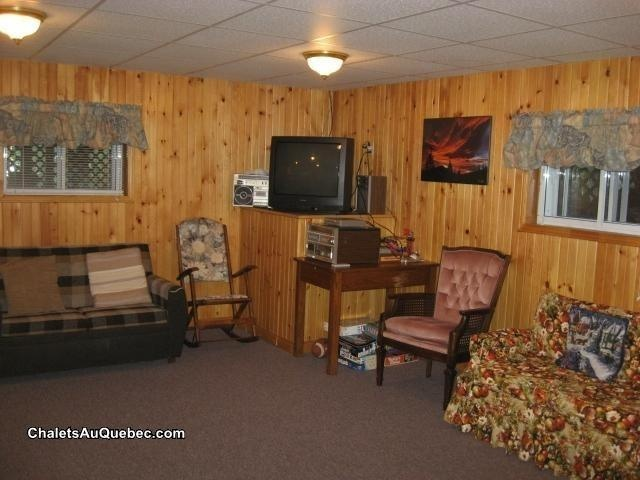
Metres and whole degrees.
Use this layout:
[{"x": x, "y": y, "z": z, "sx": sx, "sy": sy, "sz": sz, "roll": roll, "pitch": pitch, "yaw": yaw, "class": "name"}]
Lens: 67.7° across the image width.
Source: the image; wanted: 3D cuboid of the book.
[{"x": 0.543, "y": 1.014, "z": 5.033, "sx": 0.611, "sy": 0.206, "sz": 0.598, "roll": -2, "pitch": 5, "yaw": -41, "class": "book"}]

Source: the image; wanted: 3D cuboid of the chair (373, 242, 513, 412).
[{"x": 0.936, "y": 0.708, "z": 5.015, "sx": 1.416, "sy": 1.831, "sz": 1.247, "roll": 2, "pitch": 4, "yaw": -40, "class": "chair"}]

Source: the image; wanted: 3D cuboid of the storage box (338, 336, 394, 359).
[{"x": 0.442, "y": 1.080, "z": 4.890, "sx": 0.316, "sy": 0.085, "sz": 0.305, "roll": 0, "pitch": 4, "yaw": -24, "class": "storage box"}]

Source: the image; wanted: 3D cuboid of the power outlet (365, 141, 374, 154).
[{"x": 0.593, "y": -1.116, "z": 5.752, "sx": 0.111, "sy": 0.140, "sz": 0.131, "roll": 0, "pitch": 2, "yaw": -7, "class": "power outlet"}]

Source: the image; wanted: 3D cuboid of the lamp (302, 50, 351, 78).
[{"x": 0.072, "y": -1.543, "z": 4.236, "sx": 0.454, "sy": 0.185, "sz": 0.358, "roll": 0, "pitch": 8, "yaw": -16, "class": "lamp"}]

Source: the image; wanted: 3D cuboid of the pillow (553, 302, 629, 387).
[{"x": 1.940, "y": 0.734, "z": 3.433, "sx": 0.140, "sy": 0.451, "sz": 0.466, "roll": 26, "pitch": -7, "yaw": -37, "class": "pillow"}]

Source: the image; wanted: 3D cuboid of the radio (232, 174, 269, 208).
[{"x": -0.789, "y": -0.606, "z": 5.884, "sx": 0.478, "sy": 0.405, "sz": 0.279, "roll": 4, "pitch": 5, "yaw": 16, "class": "radio"}]
